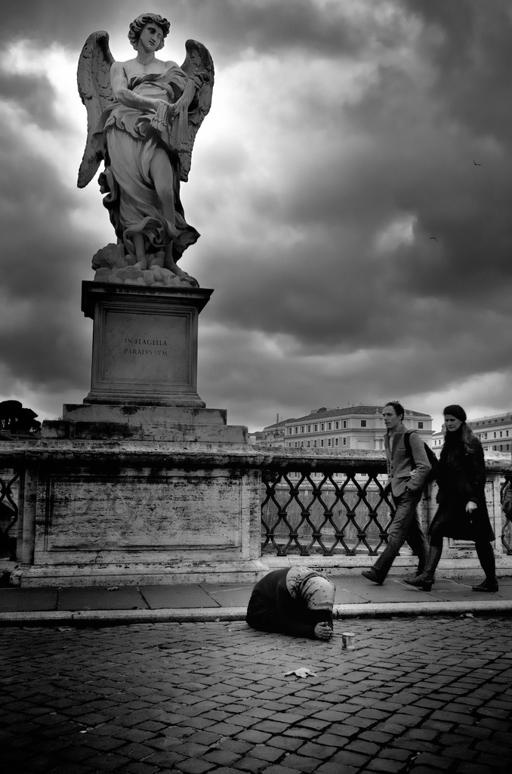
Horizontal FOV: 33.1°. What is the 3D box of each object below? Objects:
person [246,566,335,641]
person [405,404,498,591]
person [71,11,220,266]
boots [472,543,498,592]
[{"bbox_3d":[0.248,1.570,6.313,0.228,0.488,0.811,4,-9,-43],"label":"person"},{"bbox_3d":[1.886,1.072,8.251,0.706,1.779,0.360,-4,-7,15],"label":"person"},{"bbox_3d":[-1.238,-2.712,9.704,1.534,3.015,0.913,-1,-6,-4],"label":"person"},{"bbox_3d":[2.198,1.729,8.329,0.224,0.475,0.510,-3,-7,13],"label":"boots"}]
